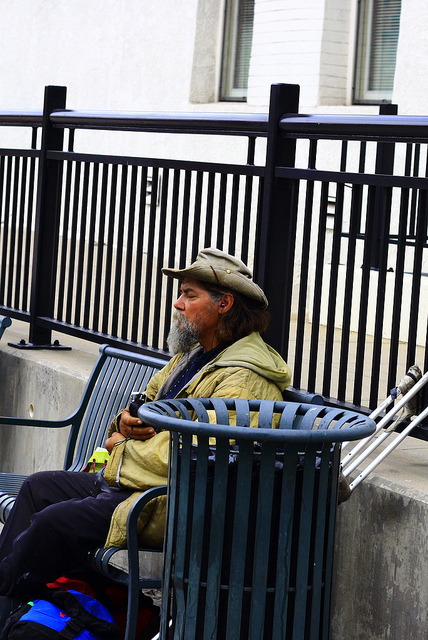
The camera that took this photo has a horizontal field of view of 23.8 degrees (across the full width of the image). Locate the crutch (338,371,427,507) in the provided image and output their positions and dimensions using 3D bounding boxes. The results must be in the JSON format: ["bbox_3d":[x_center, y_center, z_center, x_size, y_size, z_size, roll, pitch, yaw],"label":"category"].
[{"bbox_3d":[0.507,0.371,3.280,0.242,0.319,0.757,4,-3,24],"label":"crutch"}]

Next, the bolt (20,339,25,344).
[{"bbox_3d":[-1.146,0.133,6.053,0.019,0.023,0.005,3,39,9],"label":"bolt"}]

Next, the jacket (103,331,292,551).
[{"bbox_3d":[-0.100,0.380,3.571,0.621,0.980,0.607,4,1,-38],"label":"jacket"}]

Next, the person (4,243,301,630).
[{"bbox_3d":[-0.244,0.410,3.633,0.512,1.187,1.385,2,0,-27],"label":"person"}]
